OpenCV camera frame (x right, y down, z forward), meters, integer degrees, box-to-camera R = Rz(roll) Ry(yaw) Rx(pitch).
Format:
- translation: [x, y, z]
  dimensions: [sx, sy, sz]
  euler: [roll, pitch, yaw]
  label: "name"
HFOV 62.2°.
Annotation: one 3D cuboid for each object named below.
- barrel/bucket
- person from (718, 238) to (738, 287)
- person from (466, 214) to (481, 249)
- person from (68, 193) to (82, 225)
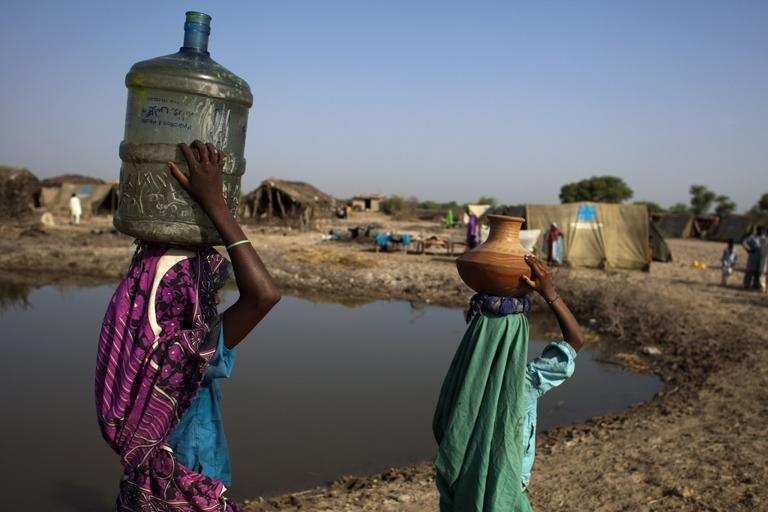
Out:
- translation: [-1.598, -1.002, 4.974]
  dimensions: [1.074, 1.871, 0.447]
  euler: [0, 6, -12]
  label: "barrel/bucket"
- translation: [9.301, 0.133, 16.940]
  dimensions: [0.270, 1.164, 1.979]
  euler: [4, 5, 30]
  label: "person"
- translation: [2.830, -0.741, 19.689]
  dimensions: [0.358, 0.989, 0.797]
  euler: [2, 5, 9]
  label: "person"
- translation: [-10.261, -1.566, 20.981]
  dimensions: [0.391, 1.001, 1.439]
  euler: [-1, 5, -26]
  label: "person"
